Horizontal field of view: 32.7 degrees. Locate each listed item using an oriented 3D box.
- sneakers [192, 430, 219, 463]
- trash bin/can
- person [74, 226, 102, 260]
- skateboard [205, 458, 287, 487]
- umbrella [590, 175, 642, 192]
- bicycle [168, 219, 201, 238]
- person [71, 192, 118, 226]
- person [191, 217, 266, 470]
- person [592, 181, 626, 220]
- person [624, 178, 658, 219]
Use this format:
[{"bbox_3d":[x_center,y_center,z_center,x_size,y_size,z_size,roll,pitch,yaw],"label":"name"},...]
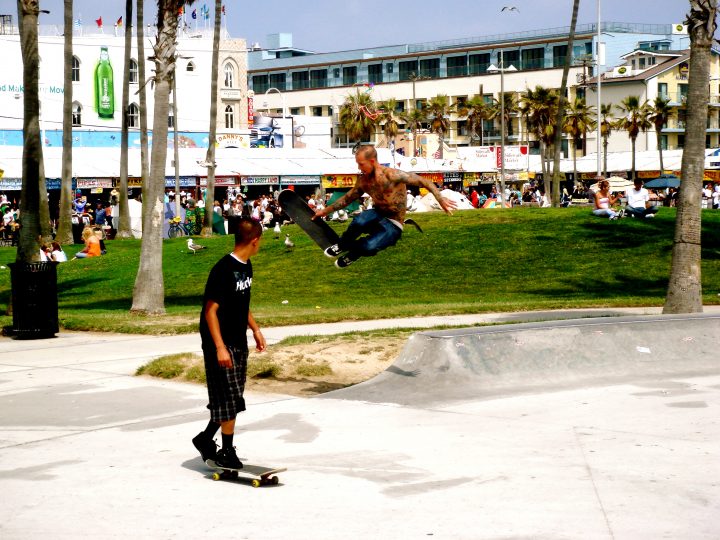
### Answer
[{"bbox_3d":[-1.790,2.051,14.370,0.210,0.428,0.179,-32,1,4],"label":"sneakers"},{"bbox_3d":[-5.734,0.521,21.662,0.802,1.290,0.583,-5,9,-14],"label":"trash bin/can"},{"bbox_3d":[-7.847,-0.815,35.417,0.720,0.779,1.716,-4,8,-11],"label":"person"},{"bbox_3d":[-1.292,2.326,14.185,0.847,0.142,0.311,0,1,29],"label":"skateboard"},{"bbox_3d":[7.338,-2.418,34.332,1.113,0.378,1.074,-2,2,-39],"label":"umbrella"},{"bbox_3d":[-5.991,-1.424,42.663,1.226,0.570,0.540,0,8,13],"label":"bicycle"},{"bbox_3d":[-9.596,-2.193,44.470,2.606,1.163,1.181,1,5,41],"label":"person"},{"bbox_3d":[-1.566,0.831,14.323,0.601,2.856,0.722,1,10,28],"label":"person"},{"bbox_3d":[6.616,-1.902,32.713,0.645,1.059,0.965,-2,8,8],"label":"person"},{"bbox_3d":[7.558,-1.965,32.903,0.960,0.892,0.695,2,17,-4],"label":"person"}]
